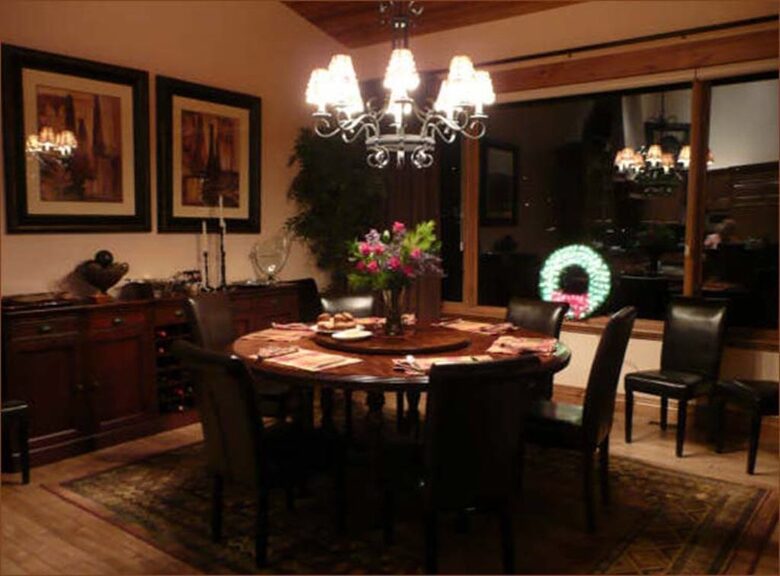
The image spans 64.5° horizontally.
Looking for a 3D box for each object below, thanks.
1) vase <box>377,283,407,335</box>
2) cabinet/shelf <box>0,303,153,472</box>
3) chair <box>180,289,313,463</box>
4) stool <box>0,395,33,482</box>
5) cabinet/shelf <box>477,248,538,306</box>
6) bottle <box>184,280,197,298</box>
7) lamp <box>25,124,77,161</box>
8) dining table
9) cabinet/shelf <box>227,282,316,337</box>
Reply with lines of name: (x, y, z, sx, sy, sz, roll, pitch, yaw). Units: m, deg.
vase: (0.031, 0.151, 3.933, 0.199, 0.310, 0.193, 1, -7, -3)
cabinet/shelf: (-2.200, 0.686, 4.245, 0.461, 1.016, 1.111, -1, 0, 39)
chair: (-0.950, 0.445, 4.662, 0.856, 1.428, 0.836, 0, 4, 26)
stool: (-2.416, 0.966, 3.976, 0.196, 0.538, 0.287, -9, 16, -31)
cabinet/shelf: (1.148, -0.121, 6.008, 0.567, 0.526, 0.203, 0, -1, 7)
bottle: (-1.567, 0.006, 4.829, 0.123, 0.121, 0.118, 3, 10, -5)
lamp: (-2.441, -1.042, 4.408, 0.266, 0.131, 0.268, -4, 13, -32)
dining table: (-0.062, 0.864, 3.862, 1.408, 0.713, 1.411, 0, 0, 2)
cabinet/shelf: (-1.009, 0.179, 5.098, 0.158, 0.387, 0.425, 3, 7, 38)
